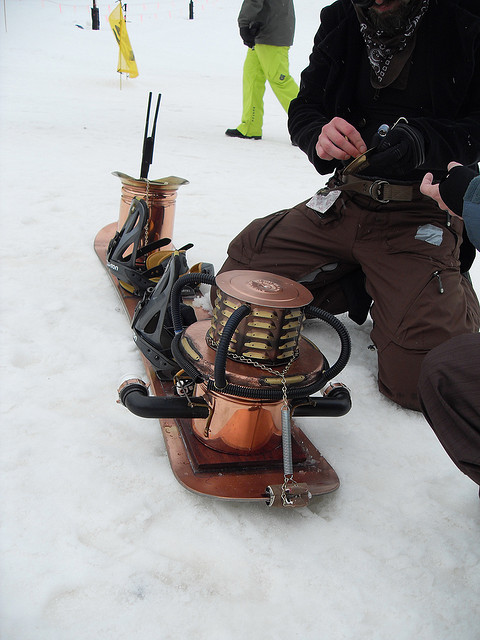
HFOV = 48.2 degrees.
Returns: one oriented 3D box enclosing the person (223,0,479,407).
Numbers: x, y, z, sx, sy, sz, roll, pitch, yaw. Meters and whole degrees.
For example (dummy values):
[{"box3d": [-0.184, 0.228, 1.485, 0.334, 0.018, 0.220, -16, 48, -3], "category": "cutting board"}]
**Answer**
[{"box3d": [0.421, -0.427, 1.757, 0.522, 1.167, 0.881, -15, 29, -37], "category": "person"}]
